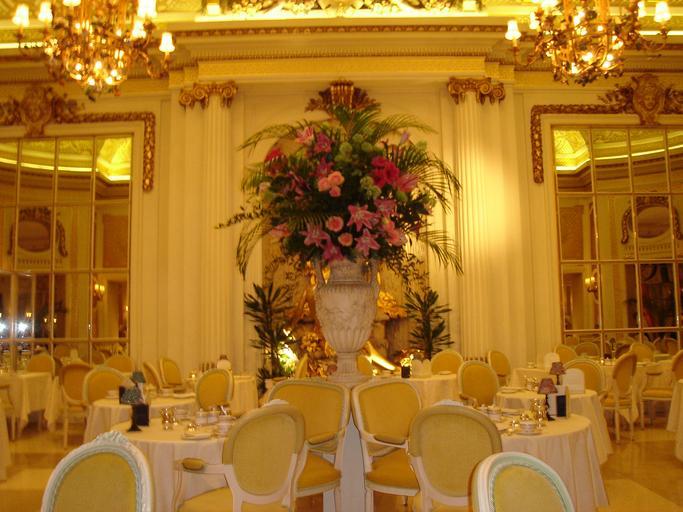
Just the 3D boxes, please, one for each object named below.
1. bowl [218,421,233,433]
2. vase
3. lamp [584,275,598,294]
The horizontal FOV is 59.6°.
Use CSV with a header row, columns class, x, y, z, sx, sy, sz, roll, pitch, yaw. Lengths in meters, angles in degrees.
class,x,y,z,sx,sy,sz,roll,pitch,yaw
bowl,-0.837,1.226,4.329,0.114,0.102,0.121,-1,-13,0
vase,0.043,0.515,4.634,0.488,0.945,0.328,-1,-7,-4
lamp,4.081,0.446,9.748,0.219,0.281,0.053,1,-7,-16
